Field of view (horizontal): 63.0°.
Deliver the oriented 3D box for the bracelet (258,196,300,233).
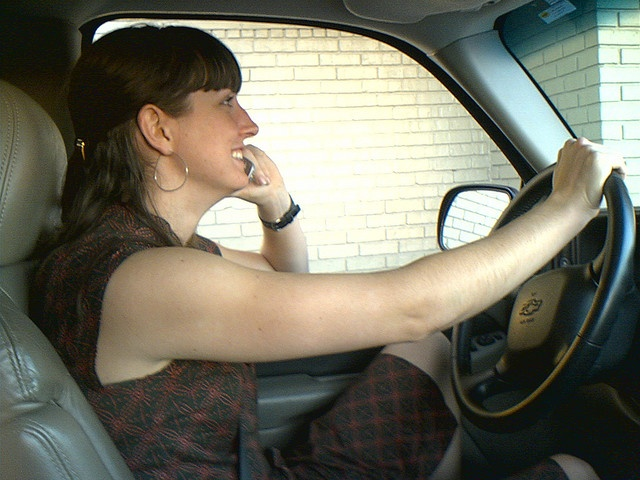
[{"bbox_3d":[-0.139,-0.089,2.070,0.152,0.131,0.057,-44,-62,5],"label":"bracelet"}]
